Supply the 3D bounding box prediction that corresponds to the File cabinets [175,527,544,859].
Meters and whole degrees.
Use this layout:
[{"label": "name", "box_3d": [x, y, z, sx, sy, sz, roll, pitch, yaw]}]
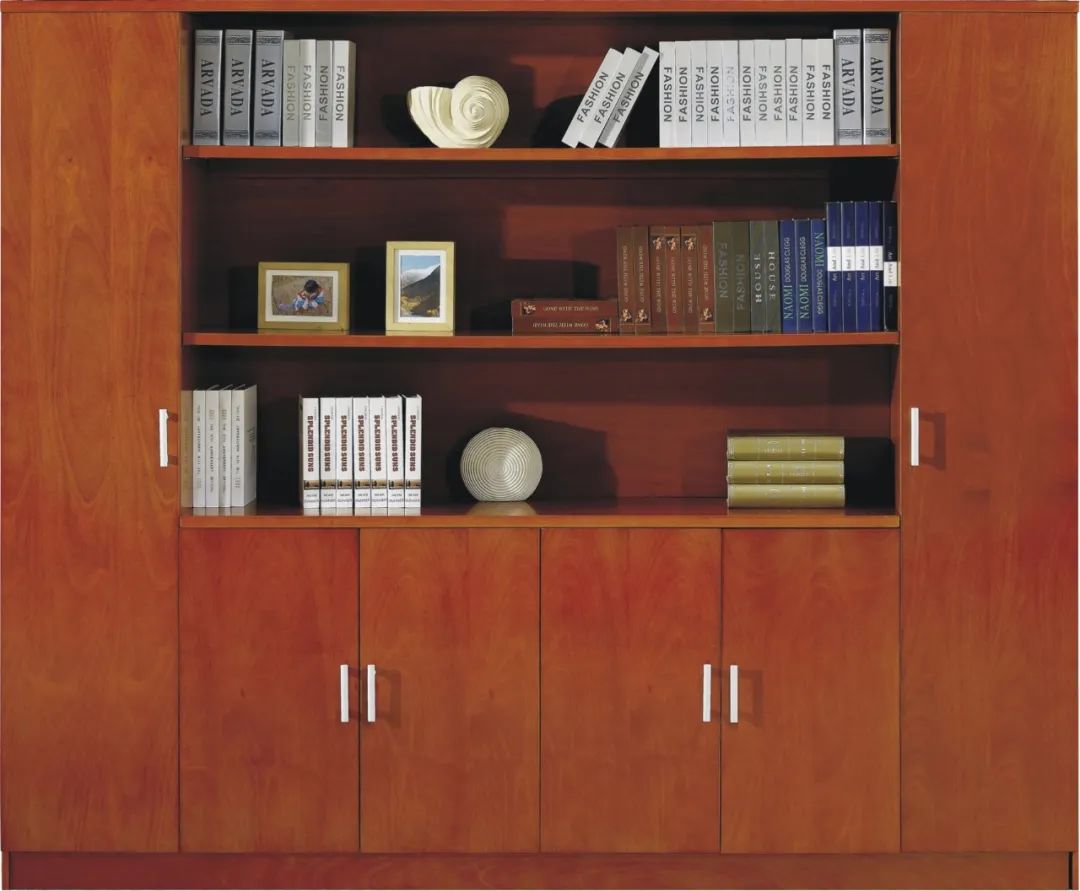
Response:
[{"label": "File cabinets", "box_3d": [-0.484, 0.614, 4.248, 0.670, 0.294, 0.743, 0, -91, -1]}]
